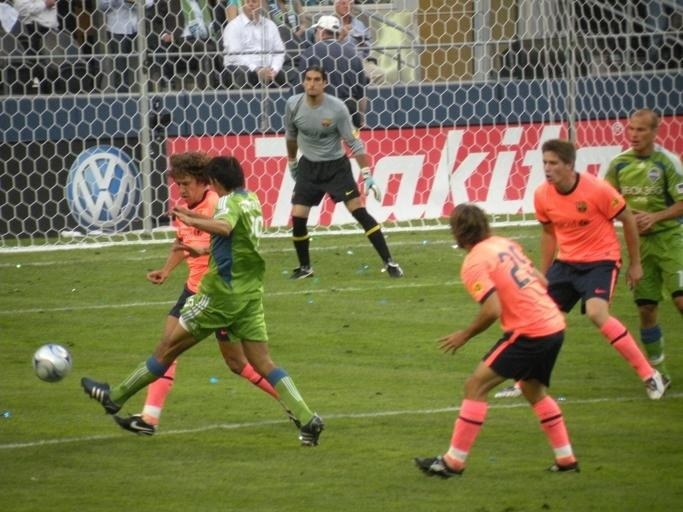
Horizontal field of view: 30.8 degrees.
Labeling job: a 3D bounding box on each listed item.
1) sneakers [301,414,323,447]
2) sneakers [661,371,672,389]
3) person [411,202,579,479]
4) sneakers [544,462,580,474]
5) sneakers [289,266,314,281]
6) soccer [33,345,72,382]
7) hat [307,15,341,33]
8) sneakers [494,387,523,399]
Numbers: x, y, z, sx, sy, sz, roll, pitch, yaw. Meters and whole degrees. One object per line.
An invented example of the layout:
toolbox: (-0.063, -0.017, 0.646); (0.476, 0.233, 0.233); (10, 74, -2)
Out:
sneakers: (-0.204, 1.273, 9.202); (0.149, 0.123, 0.273); (19, -26, -21)
sneakers: (2.656, 1.012, 10.148); (0.067, 0.076, 0.184); (-3, -7, 2)
person: (1.182, 0.596, 8.899); (1.012, 1.862, 0.694); (-1, 14, 2)
sneakers: (1.599, 1.516, 8.979); (0.235, 0.090, 0.082); (2, 2, 7)
sneakers: (-0.453, 0.178, 13.578); (0.296, 0.119, 0.103); (0, 12, 16)
soccer: (-2.263, 0.843, 9.794); (0.232, 0.256, 0.244); (-34, -42, 22)
hat: (-0.208, -2.996, 16.039); (0.440, 0.197, 0.300); (6, 11, 29)
sneakers: (1.390, 1.117, 10.305); (0.220, 0.081, 0.159); (-10, 2, 17)
